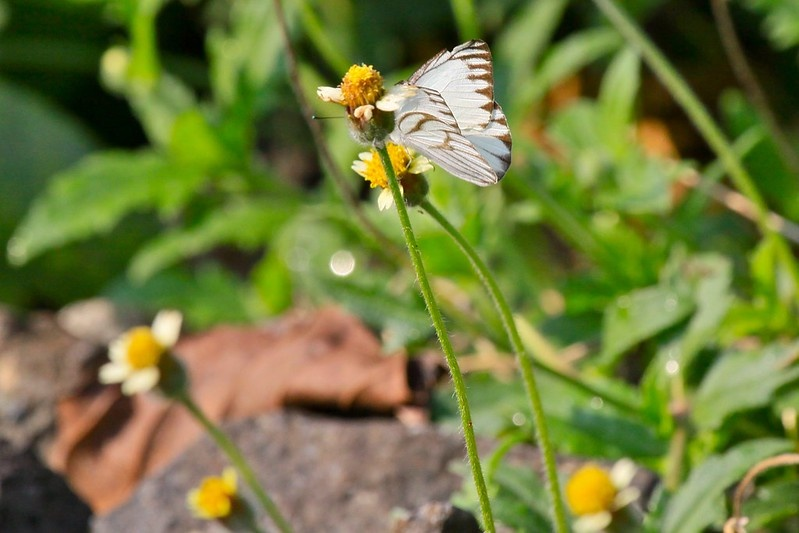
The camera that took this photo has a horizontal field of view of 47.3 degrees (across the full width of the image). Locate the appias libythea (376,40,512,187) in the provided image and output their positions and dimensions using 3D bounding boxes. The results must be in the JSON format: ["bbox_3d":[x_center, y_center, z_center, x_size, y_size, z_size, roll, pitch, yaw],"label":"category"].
[{"bbox_3d":[0.122,-0.356,2.134,0.233,0.402,0.238,1,18,6],"label":"appias libythea"}]

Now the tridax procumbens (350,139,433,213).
[{"bbox_3d":[-0.015,-0.237,2.257,0.170,0.083,0.173,-41,45,-8],"label":"tridax procumbens"}]

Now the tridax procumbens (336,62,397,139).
[{"bbox_3d":[-0.076,-0.374,2.123,0.081,0.215,0.092,-9,23,-26],"label":"tridax procumbens"}]

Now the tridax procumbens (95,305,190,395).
[{"bbox_3d":[-0.691,0.232,2.448,0.164,0.156,0.203,11,40,15],"label":"tridax procumbens"}]
